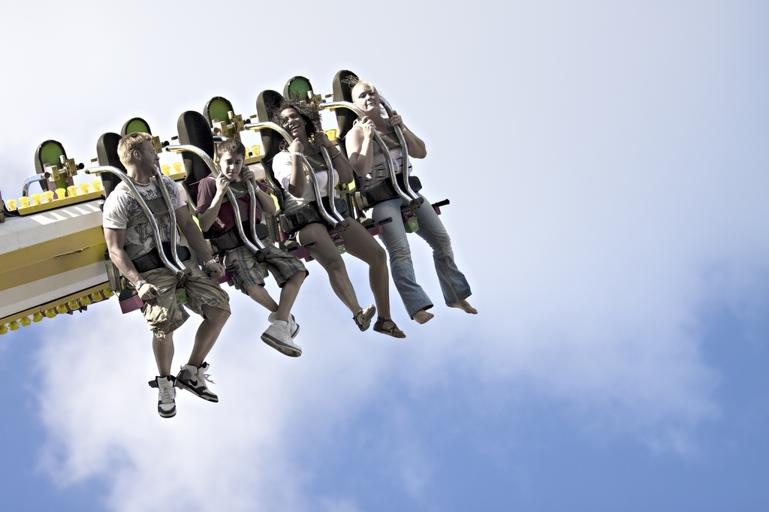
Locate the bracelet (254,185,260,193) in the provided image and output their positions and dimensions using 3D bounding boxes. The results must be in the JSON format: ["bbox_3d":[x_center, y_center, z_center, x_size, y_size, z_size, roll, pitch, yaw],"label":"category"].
[{"bbox_3d":[-1.206,-0.610,7.479,0.046,0.070,0.026,-1,5,-3],"label":"bracelet"}]

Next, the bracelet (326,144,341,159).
[{"bbox_3d":[-0.515,-1.010,7.898,0.088,0.127,0.054,2,31,41],"label":"bracelet"}]

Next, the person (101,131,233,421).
[{"bbox_3d":[-1.956,0.190,7.121,1.112,2.472,0.471,3,-7,-21],"label":"person"}]

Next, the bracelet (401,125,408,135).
[{"bbox_3d":[0.203,-1.300,8.358,0.054,0.084,0.020,0,-4,-29],"label":"bracelet"}]

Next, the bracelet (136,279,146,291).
[{"bbox_3d":[-2.101,0.262,6.869,0.080,0.097,0.051,3,-7,-22],"label":"bracelet"}]

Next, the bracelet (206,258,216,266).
[{"bbox_3d":[-1.575,0.071,7.216,0.082,0.061,0.073,-23,3,-32],"label":"bracelet"}]

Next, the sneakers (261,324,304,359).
[{"bbox_3d":[-0.952,0.756,7.299,0.325,0.319,0.139,5,-8,-36],"label":"sneakers"}]
